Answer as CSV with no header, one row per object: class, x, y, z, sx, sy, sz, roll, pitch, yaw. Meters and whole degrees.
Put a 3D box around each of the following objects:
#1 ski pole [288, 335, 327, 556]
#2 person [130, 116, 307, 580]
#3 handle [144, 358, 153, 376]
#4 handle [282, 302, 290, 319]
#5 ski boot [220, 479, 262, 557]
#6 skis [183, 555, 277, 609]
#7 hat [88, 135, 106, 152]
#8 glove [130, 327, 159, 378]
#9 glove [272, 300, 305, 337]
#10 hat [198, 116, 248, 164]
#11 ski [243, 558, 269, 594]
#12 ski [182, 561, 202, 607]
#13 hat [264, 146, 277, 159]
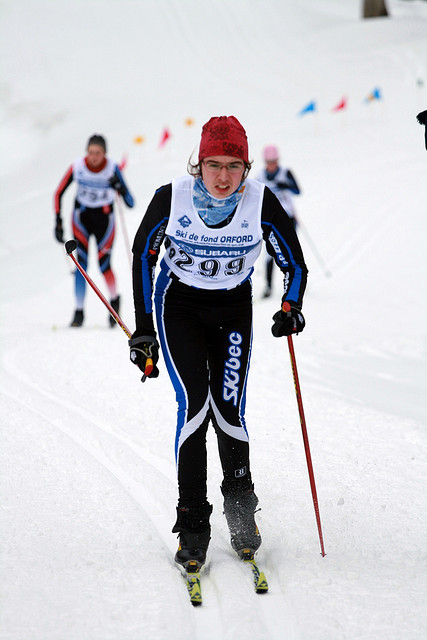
ski pole,0.448,0.605,3.390,0.099,0.813,0.088,-8,-18,-11
person,-0.003,0.064,2.475,0.621,1.513,0.573,3,13,5
handle,-0.225,0.162,2.432,0.026,0.060,0.028,1,13,-1
handle,0.261,-0.037,2.544,0.029,0.049,0.013,4,-3,42
ski boot,0.112,0.725,2.564,0.170,0.274,0.188,0,13,-6
skis,0.050,0.872,2.407,0.293,0.070,0.357,0,13,-8
hat,-1.022,-1.536,6.134,0.145,0.115,0.213,0,13,-9
glove,-0.240,0.113,2.451,0.105,0.170,0.066,0,-22,-15
glove,0.272,-0.003,2.596,0.109,0.140,0.154,2,13,4
hat,0.025,-0.628,2.434,0.155,0.154,0.164,0,-2,-6
ski,0.139,0.869,2.391,0.033,0.034,0.252,1,6,-4
ski,-0.071,0.862,2.316,0.037,0.038,0.133,23,17,-14
hat,0.630,-1.881,7.851,0.143,0.126,0.136,-4,46,0
